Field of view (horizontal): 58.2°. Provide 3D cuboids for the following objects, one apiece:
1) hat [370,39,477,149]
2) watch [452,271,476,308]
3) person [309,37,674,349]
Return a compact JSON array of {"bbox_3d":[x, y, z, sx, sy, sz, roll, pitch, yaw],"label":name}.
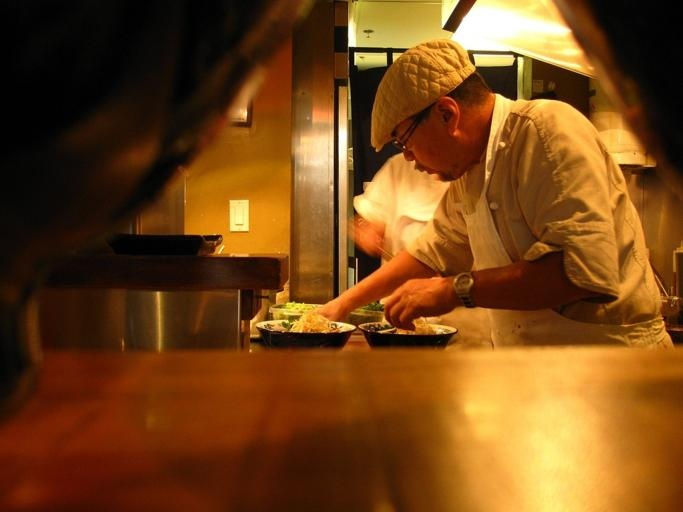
[{"bbox_3d":[0.183,-0.428,1.554,0.310,0.177,0.232,-27,9,5],"label":"hat"},{"bbox_3d":[0.280,0.072,1.369,0.039,0.072,0.068,-6,-20,26],"label":"watch"},{"bbox_3d":[0.363,-0.119,1.525,0.525,0.793,0.774,-10,19,-37],"label":"person"}]
